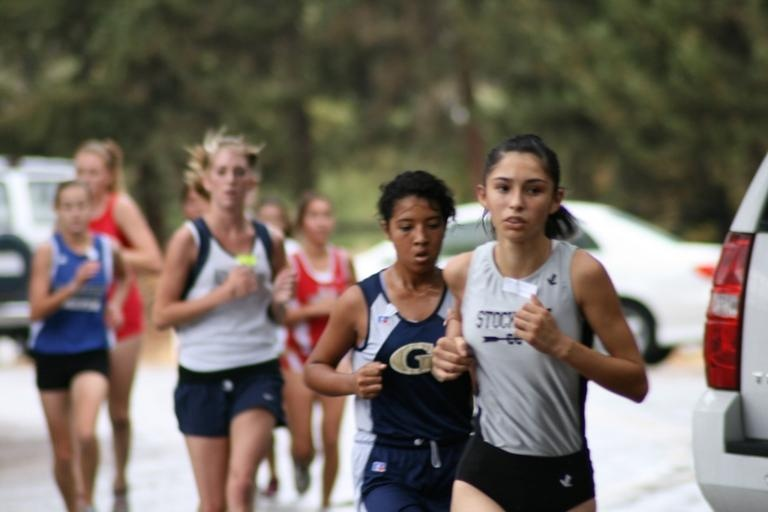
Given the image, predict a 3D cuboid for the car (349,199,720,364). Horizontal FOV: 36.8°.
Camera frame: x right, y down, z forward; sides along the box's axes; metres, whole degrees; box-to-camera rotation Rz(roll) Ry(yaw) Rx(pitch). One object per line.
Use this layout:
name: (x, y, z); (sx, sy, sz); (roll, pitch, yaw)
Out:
car: (1.857, 0.280, 14.628); (4.264, 1.535, 1.962); (2, -4, -2)
